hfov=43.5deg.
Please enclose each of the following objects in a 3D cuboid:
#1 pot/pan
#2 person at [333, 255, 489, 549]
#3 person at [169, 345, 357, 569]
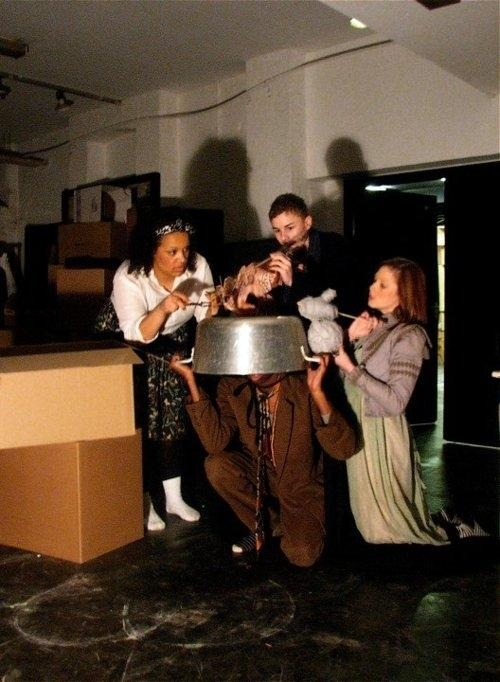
[{"bbox_3d":[-0.003,0.013,1.392,0.258,0.138,0.212,0,2,2],"label":"pot/pan"},{"bbox_3d":[0.491,0.220,2.241,0.606,1.029,0.322,-1,2,-24],"label":"person"},{"bbox_3d":[0.029,0.396,2.173,0.646,0.689,0.507,1,2,24],"label":"person"}]
